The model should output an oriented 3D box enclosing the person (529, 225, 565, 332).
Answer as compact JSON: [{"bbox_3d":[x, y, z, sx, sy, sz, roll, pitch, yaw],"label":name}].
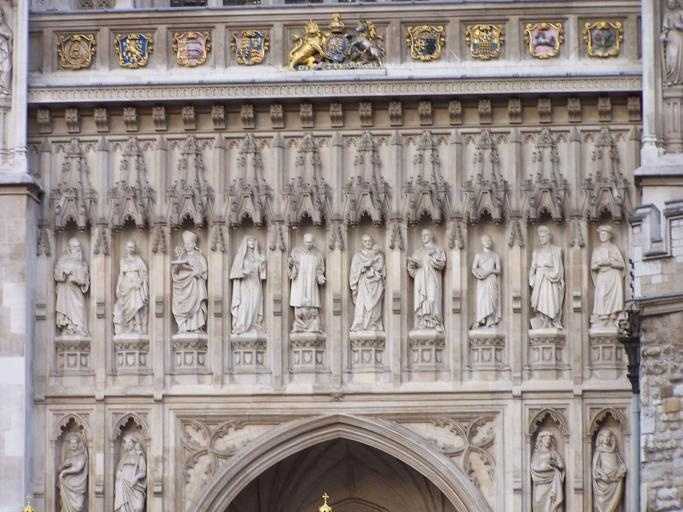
[{"bbox_3d":[3.200,0.391,38.492,0.493,1.563,0.344,-1,-3,11],"label":"person"}]

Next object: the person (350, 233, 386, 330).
[{"bbox_3d":[0.443,0.457,38.603,0.543,1.306,0.740,-2,-31,0],"label":"person"}]

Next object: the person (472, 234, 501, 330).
[{"bbox_3d":[2.273,0.417,38.530,0.506,1.273,0.663,-4,-31,3],"label":"person"}]

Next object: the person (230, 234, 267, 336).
[{"bbox_3d":[-1.414,0.526,38.715,0.423,1.903,0.393,-9,-7,29],"label":"person"}]

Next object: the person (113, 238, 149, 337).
[{"bbox_3d":[-3.241,0.632,38.786,0.372,1.826,0.399,-9,-9,24],"label":"person"}]

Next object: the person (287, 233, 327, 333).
[{"bbox_3d":[-0.516,0.440,38.640,0.419,1.824,0.425,-9,-9,34],"label":"person"}]

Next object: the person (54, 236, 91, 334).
[{"bbox_3d":[-4.183,0.523,38.838,0.557,1.387,0.708,2,-32,-6],"label":"person"}]

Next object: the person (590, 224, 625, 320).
[{"bbox_3d":[4.130,0.316,38.334,0.496,1.534,0.312,-1,1,12],"label":"person"}]
